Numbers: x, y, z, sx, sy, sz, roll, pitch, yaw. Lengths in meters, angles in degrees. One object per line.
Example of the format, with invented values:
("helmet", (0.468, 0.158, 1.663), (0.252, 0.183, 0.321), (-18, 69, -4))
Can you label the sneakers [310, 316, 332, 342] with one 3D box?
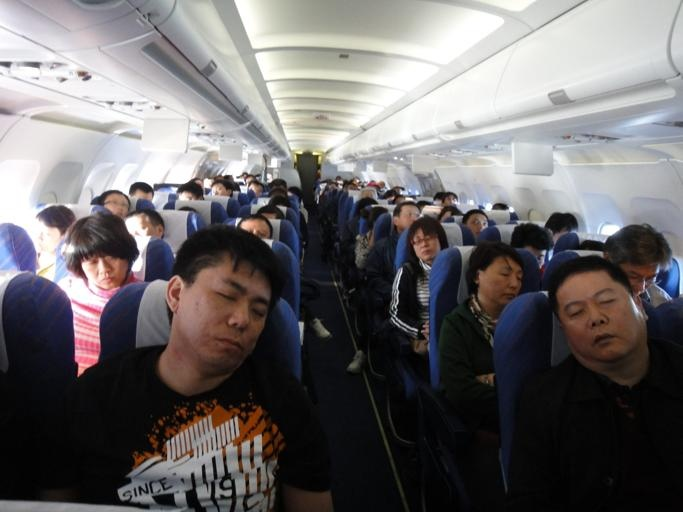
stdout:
("sneakers", (-0.274, 0.820, 5.341), (0.149, 0.197, 0.391), (-4, 16, -26))
